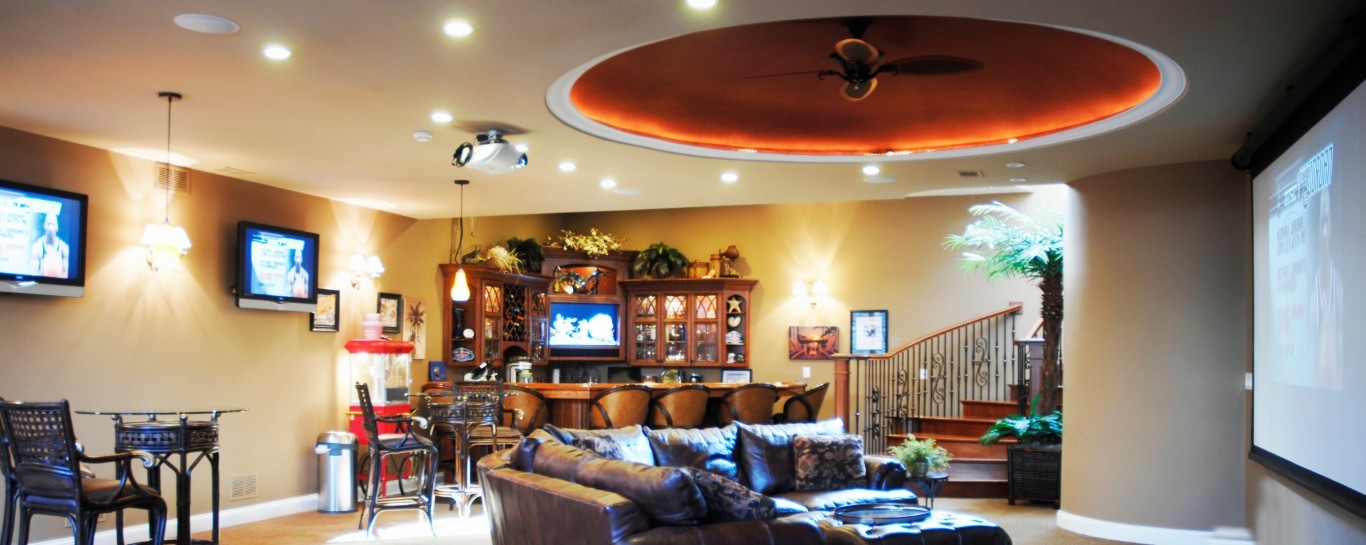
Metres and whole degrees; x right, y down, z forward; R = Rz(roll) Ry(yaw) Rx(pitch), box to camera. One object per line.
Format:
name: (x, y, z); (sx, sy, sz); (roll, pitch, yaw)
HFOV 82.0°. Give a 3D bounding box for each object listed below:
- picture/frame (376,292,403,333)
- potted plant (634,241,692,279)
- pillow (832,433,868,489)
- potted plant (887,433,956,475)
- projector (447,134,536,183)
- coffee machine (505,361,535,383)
picture/frame: (-5.214, 0.725, 14.038); (0.165, 0.721, 0.513); (-10, -15, 38)
potted plant: (-0.378, -0.240, 17.118); (1.103, 0.539, 0.958); (3, -5, -20)
pillow: (2.529, 2.808, 11.787); (0.808, 0.582, 0.311); (5, -10, -18)
potted plant: (3.886, 2.924, 12.677); (1.228, 0.559, 1.043); (0, -8, 10)
projector: (-2.811, -1.709, 11.252); (1.018, 0.367, 0.750); (6, -5, -42)
coffee machine: (-3.119, 1.940, 15.412); (0.495, 0.486, 0.530); (2, 2, 8)
